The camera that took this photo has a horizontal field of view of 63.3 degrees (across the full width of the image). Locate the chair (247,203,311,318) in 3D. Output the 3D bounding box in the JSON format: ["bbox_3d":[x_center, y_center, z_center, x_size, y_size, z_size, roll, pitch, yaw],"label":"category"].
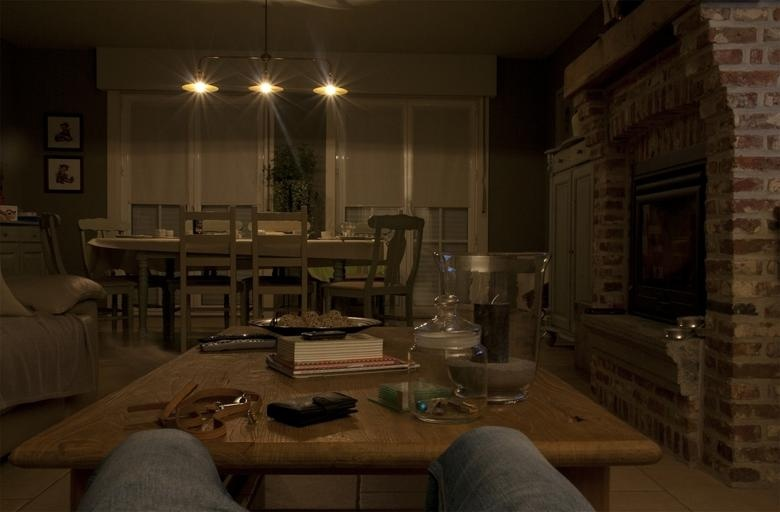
[{"bbox_3d":[-0.934,-0.039,5.204,0.584,0.649,1.151,3,0,-11],"label":"chair"}]

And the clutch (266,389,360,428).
[{"bbox_3d":[-0.279,0.551,2.279,0.198,0.055,0.149,-1,2,-30],"label":"clutch"}]

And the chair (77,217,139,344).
[{"bbox_3d":[-2.494,0.244,5.723,0.625,1.004,0.596,3,2,8],"label":"chair"}]

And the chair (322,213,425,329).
[{"bbox_3d":[-0.153,0.219,5.447,0.734,1.089,0.700,1,-1,-34],"label":"chair"}]

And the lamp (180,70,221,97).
[{"bbox_3d":[-2.048,-1.875,6.808,0.394,0.274,1.913,-4,14,-17],"label":"lamp"}]

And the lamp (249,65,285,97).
[{"bbox_3d":[-1.349,-1.939,6.795,0.335,0.369,1.889,-3,14,-11],"label":"lamp"}]

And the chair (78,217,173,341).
[{"bbox_3d":[-2.412,0.217,5.683,0.727,1.042,0.694,4,7,24],"label":"chair"}]

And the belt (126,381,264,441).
[{"bbox_3d":[-0.666,0.562,2.282,0.273,0.046,0.235,0,6,-41],"label":"belt"}]

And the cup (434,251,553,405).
[{"bbox_3d":[0.400,0.286,2.527,0.468,0.556,0.356,-1,0,11],"label":"cup"}]

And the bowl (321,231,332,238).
[{"bbox_3d":[-0.589,-0.200,5.823,0.064,0.041,0.095,-3,-7,28],"label":"bowl"}]

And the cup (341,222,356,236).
[{"bbox_3d":[-0.389,-0.268,6.014,0.193,0.175,0.127,0,-4,-3],"label":"cup"}]

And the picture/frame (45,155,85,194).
[{"bbox_3d":[-3.921,-0.979,7.565,0.488,0.499,0.039,-1,2,-2],"label":"picture/frame"}]

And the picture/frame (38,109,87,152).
[{"bbox_3d":[-3.954,-1.505,7.559,0.538,0.561,0.062,-1,3,-4],"label":"picture/frame"}]
